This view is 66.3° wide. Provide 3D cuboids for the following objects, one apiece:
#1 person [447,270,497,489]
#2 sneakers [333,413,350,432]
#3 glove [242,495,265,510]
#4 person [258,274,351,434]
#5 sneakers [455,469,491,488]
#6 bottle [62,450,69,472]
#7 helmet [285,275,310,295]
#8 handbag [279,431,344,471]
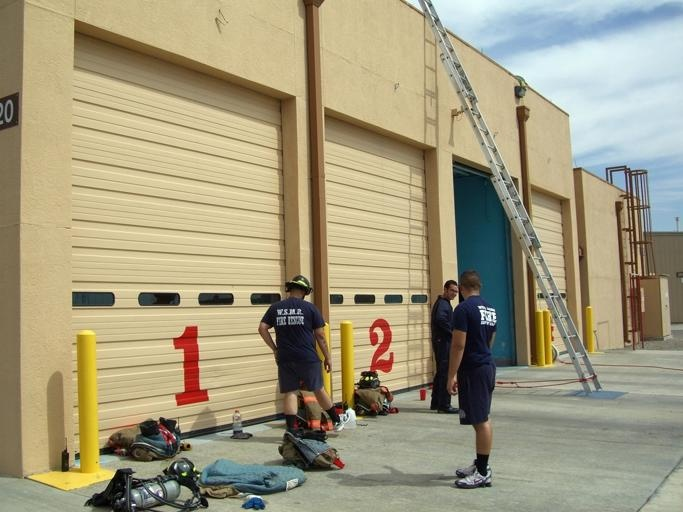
[{"bbox_3d":[1.413,1.279,5.675,0.640,2.276,0.398,-3,-7,-7],"label":"person"},{"bbox_3d":[-0.015,2.472,7.739,0.137,0.174,0.380,4,16,25],"label":"sneakers"},{"bbox_3d":[-0.846,2.354,5.010,0.229,0.095,0.257,-2,-8,-11],"label":"glove"},{"bbox_3d":[-0.489,1.312,7.199,1.076,2.085,0.714,2,-10,-38],"label":"person"},{"bbox_3d":[1.368,2.341,5.498,0.414,0.193,0.145,2,-9,-7],"label":"sneakers"},{"bbox_3d":[-3.075,2.283,5.829,0.073,0.218,0.077,-4,-7,-1],"label":"bottle"},{"bbox_3d":[-0.592,0.389,7.410,0.248,0.197,0.333,12,4,2],"label":"helmet"},{"bbox_3d":[-0.369,2.235,6.099,0.559,0.252,0.426,-3,-7,20],"label":"handbag"}]
